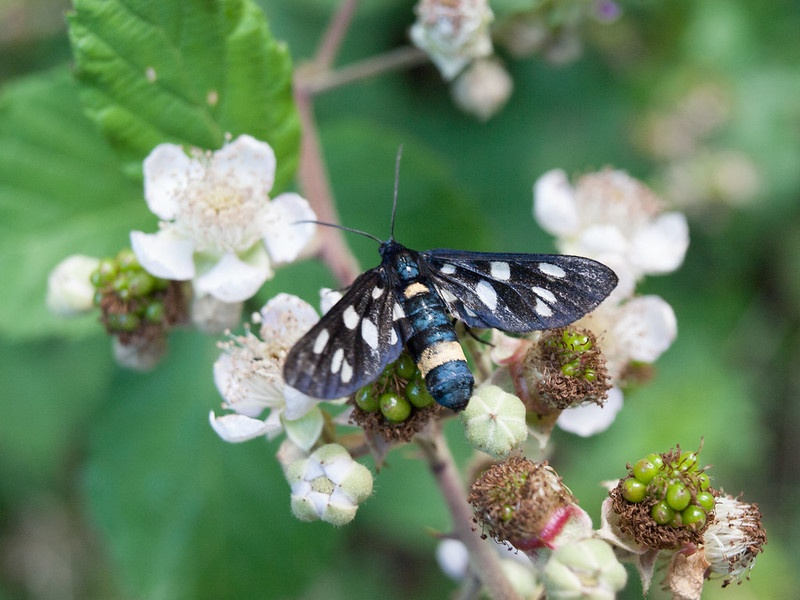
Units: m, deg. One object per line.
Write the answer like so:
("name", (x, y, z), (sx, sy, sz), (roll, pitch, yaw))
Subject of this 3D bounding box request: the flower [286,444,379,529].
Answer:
("flower", (-0.236, 0.616, 2.613), (0.287, 0.099, 0.248), (-26, 72, -6))

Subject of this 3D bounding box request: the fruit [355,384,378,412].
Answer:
("fruit", (-0.114, 0.312, 2.621), (0.069, 0.069, 0.090), (-19, 35, -13))

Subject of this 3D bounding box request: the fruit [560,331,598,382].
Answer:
("fruit", (0.578, 0.188, 2.656), (0.119, 0.070, 0.152), (-15, 82, -41))

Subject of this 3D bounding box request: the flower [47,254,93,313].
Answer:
("flower", (-1.199, -0.059, 2.867), (0.175, 0.106, 0.212), (-4, 71, 2))

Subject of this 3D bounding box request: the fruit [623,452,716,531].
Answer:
("fruit", (0.844, 0.626, 2.543), (0.240, 0.136, 0.243), (-33, 62, -23))

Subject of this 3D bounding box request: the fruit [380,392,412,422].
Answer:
("fruit", (-0.016, 0.347, 2.558), (0.096, 0.053, 0.096), (-6, 71, 1))

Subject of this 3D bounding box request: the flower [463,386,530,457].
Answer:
("flower", (0.309, 0.403, 2.580), (0.199, 0.088, 0.216), (0, 78, -9))

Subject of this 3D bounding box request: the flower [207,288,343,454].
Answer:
("flower", (-0.422, 0.267, 2.936), (0.479, 0.222, 0.550), (0, 68, 29))

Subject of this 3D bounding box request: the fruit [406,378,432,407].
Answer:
("fruit", (0.054, 0.308, 2.566), (0.072, 0.052, 0.096), (-28, 72, -7))

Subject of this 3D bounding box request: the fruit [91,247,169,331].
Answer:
("fruit", (-0.974, -0.039, 2.805), (0.253, 0.129, 0.274), (-3, 89, -12))
